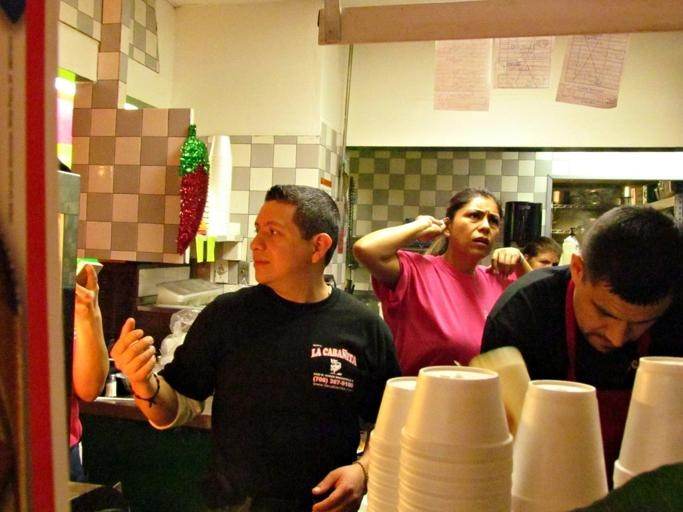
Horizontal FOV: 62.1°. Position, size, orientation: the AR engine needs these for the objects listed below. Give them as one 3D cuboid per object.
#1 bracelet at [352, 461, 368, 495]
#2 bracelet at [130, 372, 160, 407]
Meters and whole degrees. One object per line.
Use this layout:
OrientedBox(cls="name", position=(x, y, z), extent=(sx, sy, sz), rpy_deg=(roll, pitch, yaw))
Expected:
OrientedBox(cls="bracelet", position=(0.046, 0.554, 1.413), extent=(0.033, 0.074, 0.072), rpy_deg=(1, 2, -24))
OrientedBox(cls="bracelet", position=(-0.491, 0.331, 1.413), extent=(0.064, 0.077, 0.019), rpy_deg=(-25, -20, 2))
